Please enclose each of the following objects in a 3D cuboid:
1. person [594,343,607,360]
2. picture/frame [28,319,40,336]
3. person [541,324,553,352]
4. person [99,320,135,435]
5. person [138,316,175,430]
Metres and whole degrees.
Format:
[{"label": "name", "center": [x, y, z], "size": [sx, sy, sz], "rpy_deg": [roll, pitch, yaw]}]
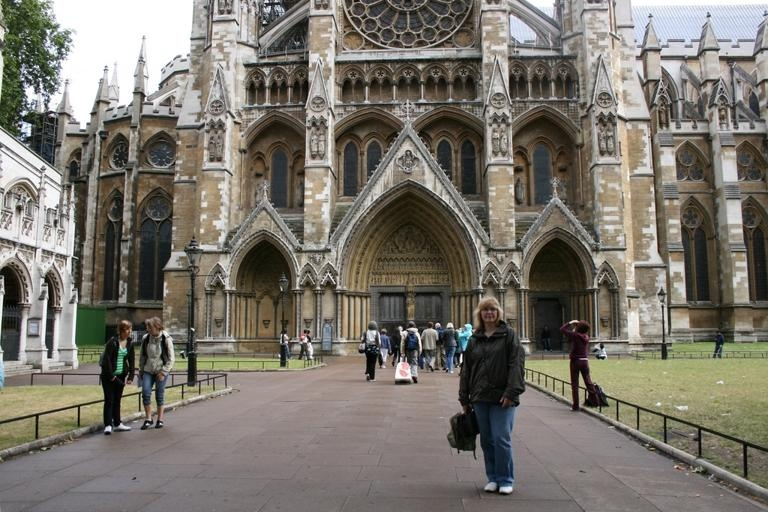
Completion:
[{"label": "person", "center": [11.463, 5.119, 38.771], "size": [0.529, 1.036, 0.777], "rpy_deg": [12, -15, -41]}, {"label": "picture/frame", "center": [-15.448, 3.145, 32.119], "size": [0.479, 0.729, 0.119], "rpy_deg": [-1, -8, -1]}, {"label": "person", "center": [9.447, 4.781, 42.585], "size": [0.523, 1.503, 1.027], "rpy_deg": [-3, -8, 10]}, {"label": "person", "center": [-7.454, 3.376, 20.307], "size": [0.670, 3.062, 0.817], "rpy_deg": [-5, -9, 25]}, {"label": "person", "center": [-6.623, 3.362, 21.130], "size": [0.900, 3.127, 1.435], "rpy_deg": [1, -8, -18]}]
